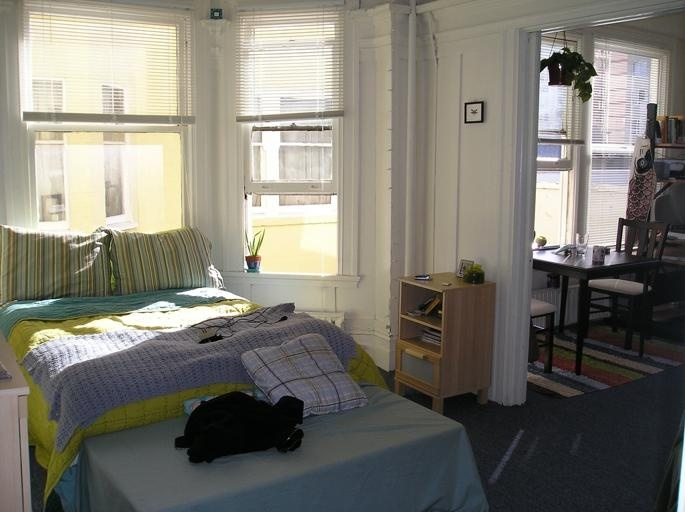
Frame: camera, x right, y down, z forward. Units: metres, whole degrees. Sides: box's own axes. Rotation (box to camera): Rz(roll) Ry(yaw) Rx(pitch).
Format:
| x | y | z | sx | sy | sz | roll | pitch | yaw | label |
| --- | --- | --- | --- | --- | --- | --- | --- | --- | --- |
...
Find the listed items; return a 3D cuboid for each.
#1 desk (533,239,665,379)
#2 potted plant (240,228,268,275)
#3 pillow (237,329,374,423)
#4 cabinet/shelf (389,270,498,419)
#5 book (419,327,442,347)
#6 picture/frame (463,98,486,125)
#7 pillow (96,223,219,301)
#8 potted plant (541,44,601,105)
| x | y | z | sx | sy | sz | roll | pitch | yaw | label |
| --- | --- | --- | --- | --- | --- | --- | --- | --- | --- |
| 2.111 | 0.461 | 4.878 | 1.139 | 0.836 | 1.165 | 5 | 11 | 3 | desk |
| -0.812 | -0.029 | 4.875 | 0.167 | 0.352 | 0.139 | 2 | -13 | -43 | potted plant |
| -0.194 | 0.633 | 2.906 | 0.668 | 0.152 | 0.714 | -16 | 33 | -19 | pillow |
| 0.742 | 0.680 | 4.056 | 0.479 | 0.897 | 0.552 | -2 | 5 | -29 | cabinet/shelf |
| 0.667 | 0.618 | 3.957 | 0.114 | 0.041 | 0.111 | -4 | 9 | -42 | book |
| 1.008 | -1.098 | 4.008 | 0.024 | 0.193 | 0.219 | -3 | 7 | -35 | picture/frame |
| -1.468 | 0.075 | 4.370 | 0.860 | 0.579 | 0.290 | -4 | -7 | -40 | pillow |
| 1.770 | -1.455 | 4.193 | 0.525 | 0.339 | 0.542 | -1 | 27 | -23 | potted plant |
